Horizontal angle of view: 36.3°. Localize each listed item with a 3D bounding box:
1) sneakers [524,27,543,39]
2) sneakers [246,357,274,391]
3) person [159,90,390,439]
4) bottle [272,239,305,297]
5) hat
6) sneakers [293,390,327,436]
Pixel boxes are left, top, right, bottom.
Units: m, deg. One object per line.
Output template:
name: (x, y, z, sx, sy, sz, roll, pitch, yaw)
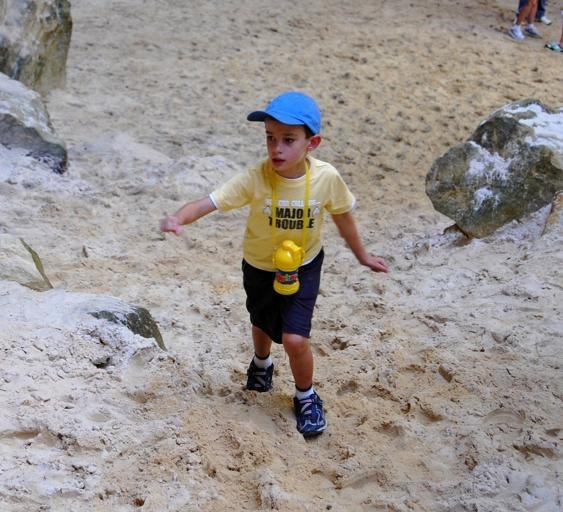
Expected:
sneakers: (2.806, -2.511, 9.628, 0.207, 0.089, 0.075, 29, 54, 31)
sneakers: (-0.115, 0.630, 4.493, 0.108, 0.117, 0.185, 2, 68, 1)
person: (0.038, 0.032, 4.289, 0.881, 1.613, 0.923, 20, 43, 19)
bottle: (0.026, 0.062, 4.123, 0.140, 0.254, 0.167, 4, 40, 2)
hat: (0.034, -0.685, 4.032, 0.290, 0.132, 0.215, 20, 0, -36)
sneakers: (0.141, 0.799, 4.269, 0.120, 0.115, 0.251, -7, 44, 0)
